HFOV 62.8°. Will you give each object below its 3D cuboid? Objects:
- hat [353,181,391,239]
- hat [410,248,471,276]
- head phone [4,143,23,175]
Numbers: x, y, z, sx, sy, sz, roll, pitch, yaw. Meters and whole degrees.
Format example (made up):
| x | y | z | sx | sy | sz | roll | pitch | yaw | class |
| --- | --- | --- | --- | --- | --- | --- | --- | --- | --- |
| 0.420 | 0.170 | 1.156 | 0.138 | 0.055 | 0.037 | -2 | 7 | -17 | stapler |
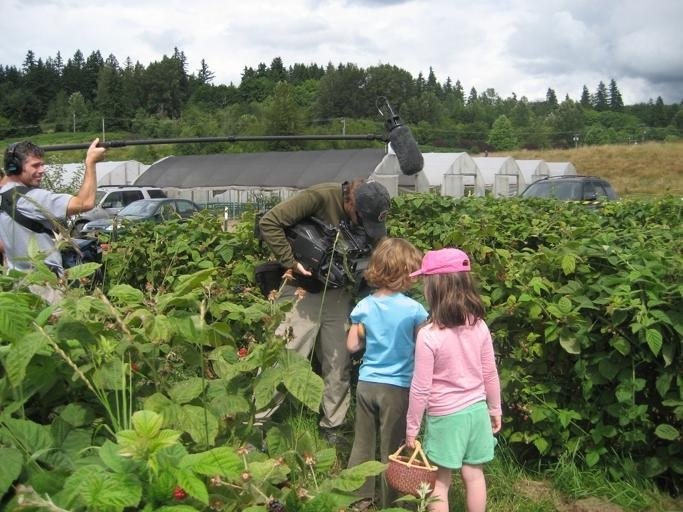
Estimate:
| x | y | z | sx | sy | sz | roll | pitch | yaw | class |
| --- | --- | --- | --- | --- | --- | --- | --- | --- | --- |
| 0.214 | -0.320 | 4.085 | 0.253 | 0.438 | 0.236 | 4 | 7 | -4 | hat |
| 0.619 | 0.043 | 3.374 | 0.230 | 0.100 | 0.169 | -3 | -4 | 21 | hat |
| -2.483 | -0.724 | 4.243 | 0.093 | 0.237 | 0.236 | 0 | 3 | -2 | head phone |
